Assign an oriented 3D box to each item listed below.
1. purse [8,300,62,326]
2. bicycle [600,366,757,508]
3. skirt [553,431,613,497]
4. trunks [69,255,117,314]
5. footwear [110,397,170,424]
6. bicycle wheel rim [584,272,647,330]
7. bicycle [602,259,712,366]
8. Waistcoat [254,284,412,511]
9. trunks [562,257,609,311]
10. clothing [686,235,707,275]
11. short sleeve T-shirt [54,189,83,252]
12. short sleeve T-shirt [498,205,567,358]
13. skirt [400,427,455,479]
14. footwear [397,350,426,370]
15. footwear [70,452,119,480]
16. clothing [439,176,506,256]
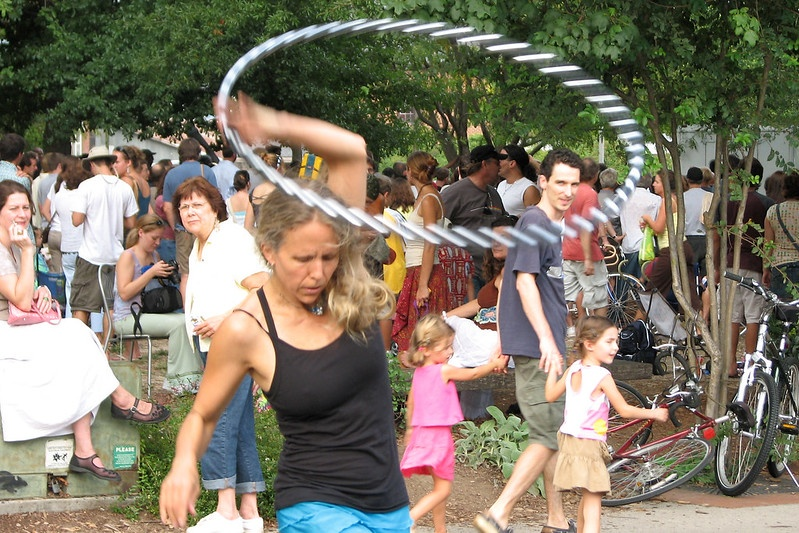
[{"bbox_3d":[-2.970,0.309,7.318,0.384,0.356,0.173,-1,14,-16],"label":"purse"},{"bbox_3d":[2.432,1.762,8.464,1.664,0.824,1.010,-27,28,-22],"label":"bicycle"},{"bbox_3d":[1.427,1.555,6.993,0.563,0.558,0.422,-2,-21,17],"label":"skirt"},{"bbox_3d":[-3.587,0.224,10.563,0.369,0.642,0.622,4,-6,18],"label":"trunks"},{"bbox_3d":[-2.176,1.219,7.576,0.471,0.183,0.206,2,15,-2],"label":"footwear"},{"bbox_3d":[2.996,0.508,12.298,0.838,0.883,0.898,-1,7,26],"label":"bicycle wheel rim"},{"bbox_3d":[3.300,0.517,11.018,1.407,1.412,1.107,-3,-1,8],"label":"bicycle"},{"bbox_3d":[-0.389,0.729,4.913,0.741,1.331,0.540,-10,0,-38],"label":"Waistcoat"},{"bbox_3d":[2.263,0.203,10.886,0.607,0.583,0.345,-5,-12,39],"label":"trunks"},{"bbox_3d":[4.058,-0.189,12.248,0.168,0.622,0.687,0,0,33],"label":"clothing"},{"bbox_3d":[-4.159,-0.503,11.277,0.264,0.728,0.545,-11,-2,-18],"label":"short sleeve T-shirt"},{"bbox_3d":[1.119,0.128,7.142,0.626,1.143,0.977,6,3,21],"label":"short sleeve T-shirt"},{"bbox_3d":[0.215,1.464,7.250,0.499,0.555,0.393,1,-29,4],"label":"skirt"},{"bbox_3d":[0.046,0.777,7.386,0.188,0.139,0.209,8,-14,-37],"label":"footwear"},{"bbox_3d":[-2.533,1.686,7.502,0.408,0.172,0.186,7,-3,-2],"label":"footwear"},{"bbox_3d":[0.879,-0.534,10.329,0.905,0.895,0.502,1,16,-34],"label":"clothing"}]
